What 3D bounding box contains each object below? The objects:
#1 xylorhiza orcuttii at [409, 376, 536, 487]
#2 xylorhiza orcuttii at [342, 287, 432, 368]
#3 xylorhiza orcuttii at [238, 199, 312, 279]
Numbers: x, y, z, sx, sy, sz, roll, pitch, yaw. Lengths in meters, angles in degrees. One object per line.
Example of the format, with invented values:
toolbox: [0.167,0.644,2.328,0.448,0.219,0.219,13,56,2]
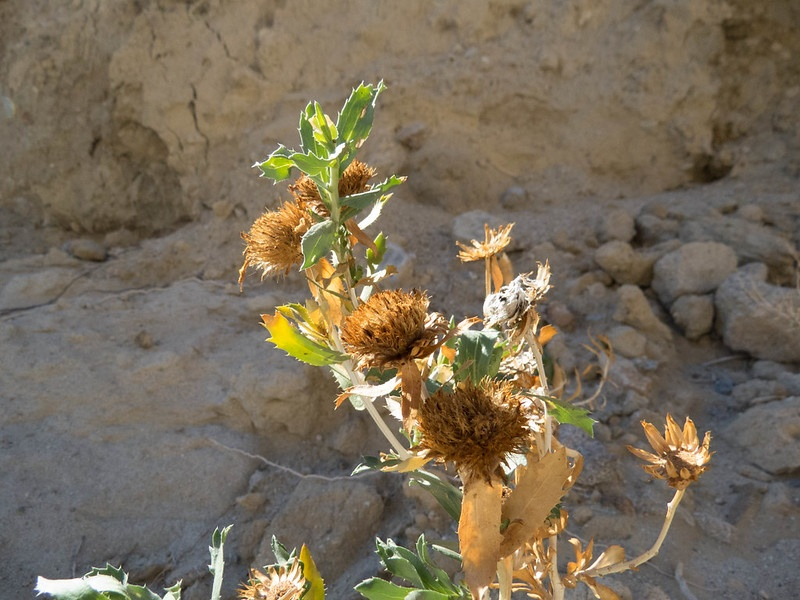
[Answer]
xylorhiza orcuttii: [0.425,0.681,8.639,0.548,0.521,0.540,59,21,-24]
xylorhiza orcuttii: [-0.017,0.133,8.652,0.435,0.303,0.439,25,31,-29]
xylorhiza orcuttii: [-0.683,-0.325,8.761,0.408,0.372,0.318,1,-17,1]
